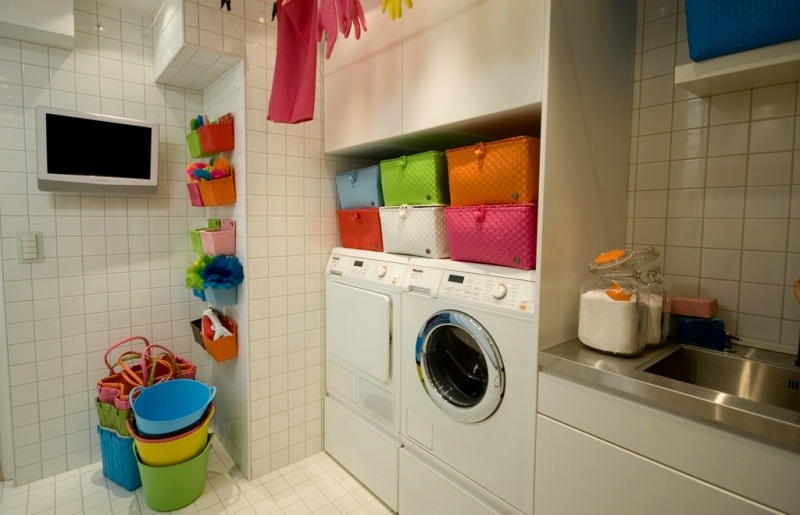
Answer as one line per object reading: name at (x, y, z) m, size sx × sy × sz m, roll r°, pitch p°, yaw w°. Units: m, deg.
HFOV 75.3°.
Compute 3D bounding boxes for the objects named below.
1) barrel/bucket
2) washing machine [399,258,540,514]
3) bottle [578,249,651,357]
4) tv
barrel/bucket at (-1.484, 1.227, 3.444) m, size 0.544 × 0.778 × 0.384 m, roll -6°, pitch 6°, yaw -23°
washing machine at (0.389, 0.724, 3.037) m, size 0.303 × 1.416 × 0.885 m, roll -9°, pitch 8°, yaw -43°
bottle at (1.147, 0.235, 2.773) m, size 0.389 × 0.551 × 0.209 m, roll -3°, pitch 6°, yaw 8°
tv at (-2.060, -0.718, 3.480) m, size 0.632 × 0.466 × 0.084 m, roll -2°, pitch 3°, yaw -34°
